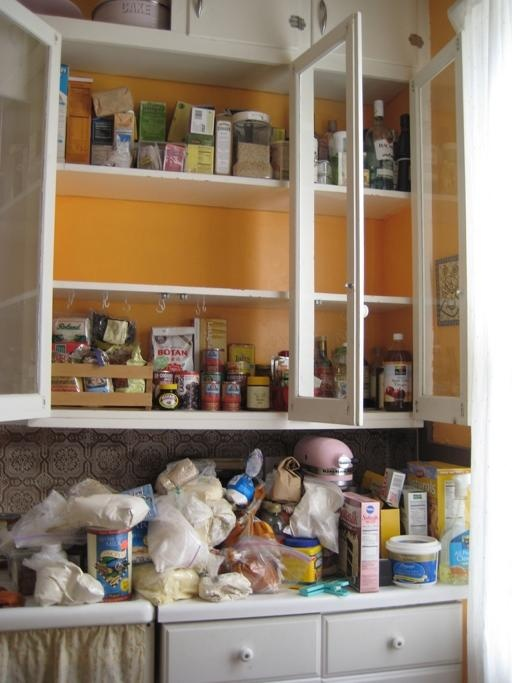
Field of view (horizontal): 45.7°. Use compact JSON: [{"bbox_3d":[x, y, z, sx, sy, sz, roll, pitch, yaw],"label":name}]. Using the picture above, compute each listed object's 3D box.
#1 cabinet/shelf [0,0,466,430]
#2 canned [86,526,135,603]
[{"bbox_3d":[-0.079,-0.380,1.764,1.282,1.073,0.701,1,-5,-9],"label":"cabinet/shelf"},{"bbox_3d":[-0.351,0.535,1.456,0.105,0.166,0.101,-3,-14,-7],"label":"canned"}]
